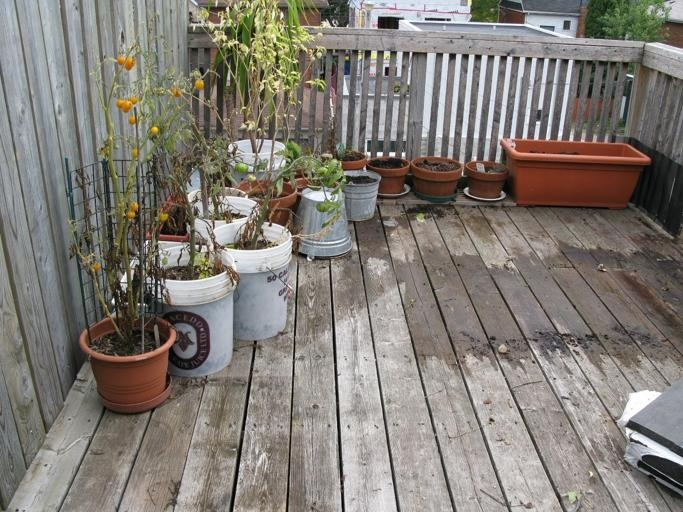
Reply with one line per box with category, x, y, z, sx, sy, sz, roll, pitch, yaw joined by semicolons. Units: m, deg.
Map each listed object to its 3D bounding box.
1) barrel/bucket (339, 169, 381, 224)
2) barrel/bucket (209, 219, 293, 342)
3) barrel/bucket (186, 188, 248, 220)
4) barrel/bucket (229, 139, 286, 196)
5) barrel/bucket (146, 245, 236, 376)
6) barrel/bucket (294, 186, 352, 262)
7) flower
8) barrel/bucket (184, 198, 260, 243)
barrel/bucket;0.122;-0.494;3.988;0.342;0.401;0.358;-1;31;0
barrel/bucket;-0.381;0.084;2.770;0.467;0.623;0.554;1;28;-1
barrel/bucket;-0.767;-0.392;3.087;0.256;0.110;0.268;4;40;-4
barrel/bucket;-0.562;-0.706;3.435;0.426;0.371;0.464;3;33;-2
barrel/bucket;-0.594;0.264;2.480;0.464;0.599;0.536;-1;24;-4
barrel/bucket;-0.124;-0.210;3.331;0.364;0.351;0.427;0;25;-1
flower;-0.755;-0.804;2.905;0.879;0.917;2.473;0;36;1
barrel/bucket;-0.657;-0.292;2.827;0.304;0.130;0.301;1;37;-1
